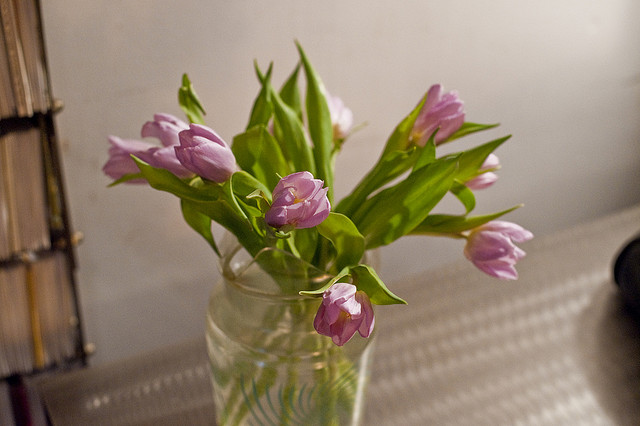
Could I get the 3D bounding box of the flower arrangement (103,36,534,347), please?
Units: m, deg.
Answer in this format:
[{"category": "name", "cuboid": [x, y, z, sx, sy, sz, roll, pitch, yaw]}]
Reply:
[{"category": "flower arrangement", "cuboid": [0.045, -0.077, 0.888, 0.586, 0.373, 0.537, 18, 18, 23]}]
